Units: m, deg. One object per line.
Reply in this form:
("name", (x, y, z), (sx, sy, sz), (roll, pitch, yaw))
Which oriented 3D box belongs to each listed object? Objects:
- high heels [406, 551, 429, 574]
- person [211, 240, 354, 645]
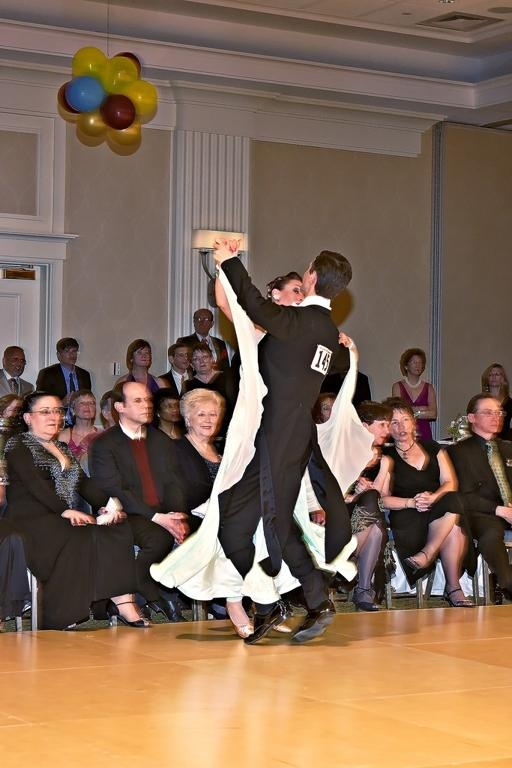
("high heels", (0.941, 1.046, 4.179), (0.060, 0.066, 0.193), (-28, -5, -6))
("person", (0.095, 0.227, 2.788), (0.555, 1.542, 0.365), (2, -5, -5))
